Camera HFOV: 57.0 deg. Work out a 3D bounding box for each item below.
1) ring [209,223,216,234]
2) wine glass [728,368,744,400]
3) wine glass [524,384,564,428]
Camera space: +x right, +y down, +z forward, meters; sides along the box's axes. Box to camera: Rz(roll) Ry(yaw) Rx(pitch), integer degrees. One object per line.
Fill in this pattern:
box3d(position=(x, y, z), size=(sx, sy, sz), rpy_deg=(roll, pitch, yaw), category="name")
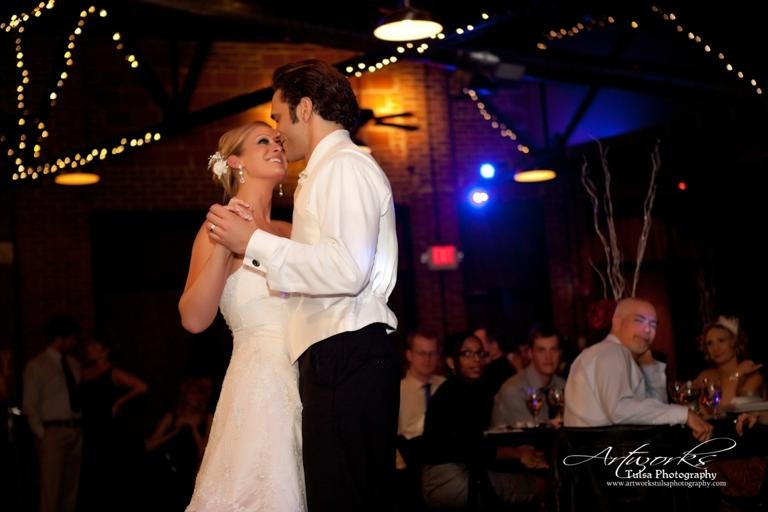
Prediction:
box3d(position=(-1.045, -0.176, 4.320), size=(0.033, 0.047, 0.015), rpy_deg=(-2, 1, 10), category="ring")
box3d(position=(3.445, 1.268, 6.954), size=(0.063, 0.236, 0.166), rpy_deg=(15, -2, -11), category="wine glass")
box3d(position=(1.432, 1.349, 6.299), size=(0.285, 0.476, 0.365), rpy_deg=(4, -8, -30), category="wine glass")
